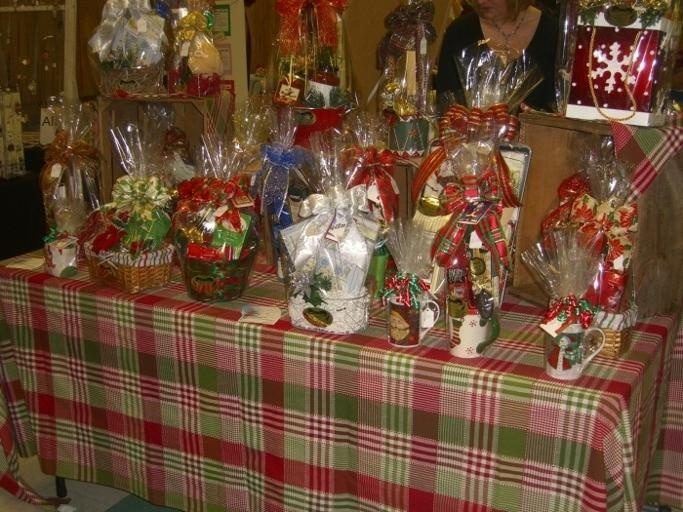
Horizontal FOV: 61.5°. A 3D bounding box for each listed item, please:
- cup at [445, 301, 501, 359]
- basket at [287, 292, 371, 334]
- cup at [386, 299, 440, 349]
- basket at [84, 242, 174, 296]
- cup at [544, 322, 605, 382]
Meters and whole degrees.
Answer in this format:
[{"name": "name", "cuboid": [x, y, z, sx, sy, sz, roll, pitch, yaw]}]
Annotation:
[{"name": "cup", "cuboid": [0.340, 0.196, 1.504, 0.085, 0.146, 0.132, -29, 35, -36]}, {"name": "basket", "cuboid": [-0.032, 0.163, 1.687, 0.240, 0.112, 0.191, 1, 7, 29]}, {"name": "cup", "cuboid": [0.200, 0.184, 1.561, 0.130, 0.130, 0.092, -2, -4, 10]}, {"name": "basket", "cuboid": [-0.707, 0.077, 1.952, 0.285, 0.147, 0.242, 1, -19, 14]}, {"name": "cup", "cuboid": [0.570, 0.229, 1.408, 0.136, 0.152, 0.085, 12, 17, 35]}]
